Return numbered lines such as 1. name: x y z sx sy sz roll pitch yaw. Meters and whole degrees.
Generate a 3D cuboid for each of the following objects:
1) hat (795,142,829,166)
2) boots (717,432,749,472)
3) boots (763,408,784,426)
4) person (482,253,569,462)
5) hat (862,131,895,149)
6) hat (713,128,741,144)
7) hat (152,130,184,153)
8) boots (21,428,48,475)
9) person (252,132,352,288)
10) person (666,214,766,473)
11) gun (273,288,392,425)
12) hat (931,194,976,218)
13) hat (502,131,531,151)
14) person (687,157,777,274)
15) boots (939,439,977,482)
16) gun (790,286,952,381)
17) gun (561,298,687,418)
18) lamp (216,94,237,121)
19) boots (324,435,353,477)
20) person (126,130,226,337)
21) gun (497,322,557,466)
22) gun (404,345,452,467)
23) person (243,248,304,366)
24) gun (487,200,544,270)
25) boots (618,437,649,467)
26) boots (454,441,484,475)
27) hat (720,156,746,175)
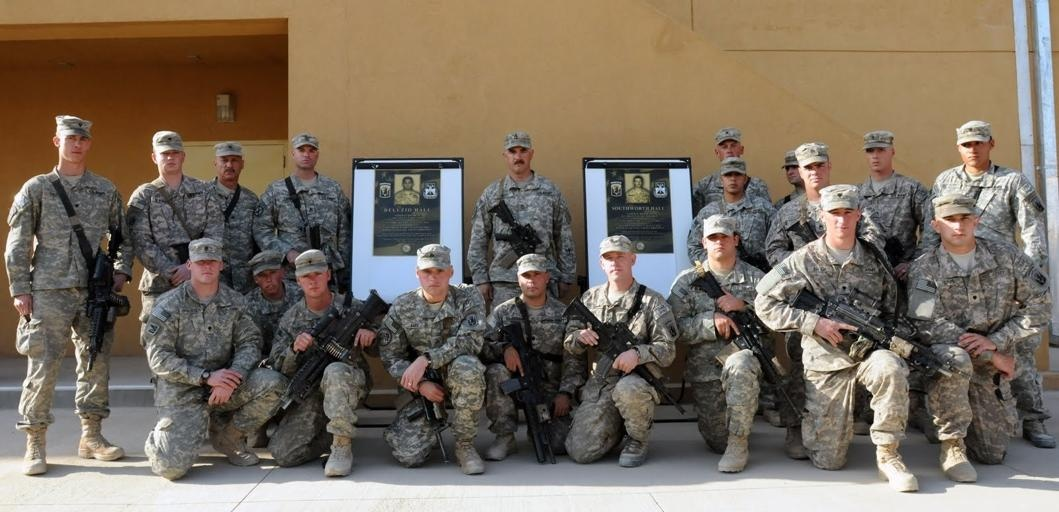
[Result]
1. hat: 3.746 -1.348 15.373 0.381 0.311 0.257 -1 2 -1
2. boots: 2.596 2.488 14.537 0.529 0.471 0.242 -2 2 -32
3. boots: 3.233 2.160 15.336 0.201 0.171 0.298 -1 21 -24
4. person: -0.043 1.317 15.203 1.240 2.599 0.997 1 0 1
5. hat: 4.791 -1.580 15.638 0.423 0.162 0.309 4 -4 -36
6. hat: 2.814 -1.708 16.454 0.365 0.255 0.375 -1 2 5
7. hat: -4.955 -1.517 15.570 0.409 0.232 0.516 1 -11 -21
8. boots: -6.306 2.481 14.549 0.291 0.554 0.323 -2 2 -21
9. person: -3.149 -0.612 16.226 1.384 2.094 1.140 1 0 -2
10. person: 2.425 1.148 14.905 1.477 3.047 1.015 1 1 0
11. gun: -2.543 1.239 14.802 1.277 1.726 0.874 1 0 22
12. hat: 5.310 -0.628 14.478 0.484 0.286 0.158 0 2 12
13. hat: -0.203 -1.573 15.861 0.341 0.234 0.199 -1 2 -7
14. person: 2.861 -0.719 16.529 1.501 1.839 0.575 5 36 9
15. boots: 5.299 2.533 14.261 0.437 0.502 0.234 -1 2 14
16. gun: 4.272 0.967 14.407 2.442 0.802 0.384 22 0 9
17. gun: 1.101 1.219 14.825 1.319 1.315 0.460 -1 2 1
18. lamp: -4.871 -2.353 18.275 0.296 0.457 0.066 -1 2 3
19. boots: -2.448 2.523 14.508 0.357 0.495 0.326 -1 2 -9
20. person: -4.960 -0.312 15.677 1.170 2.660 1.053 0 0 28
21. gun: -0.013 1.754 14.824 0.610 1.743 0.678 -1 0 34
22. gun: -1.333 2.038 14.749 0.537 1.241 0.494 0 0 -2
23. person: -3.448 0.679 15.418 0.770 1.404 0.682 -1 -1 -10
24. gun: -0.194 -0.293 15.690 0.626 1.003 0.183 -32 -15 1
25. boots: 1.304 2.508 14.651 0.341 0.285 0.824 -1 -8 11
26. boots: -0.772 2.560 14.583 0.361 0.384 0.382 -1 2 -11
27. hat: 2.783 -1.244 15.948 0.377 0.138 0.475 0 1 8
